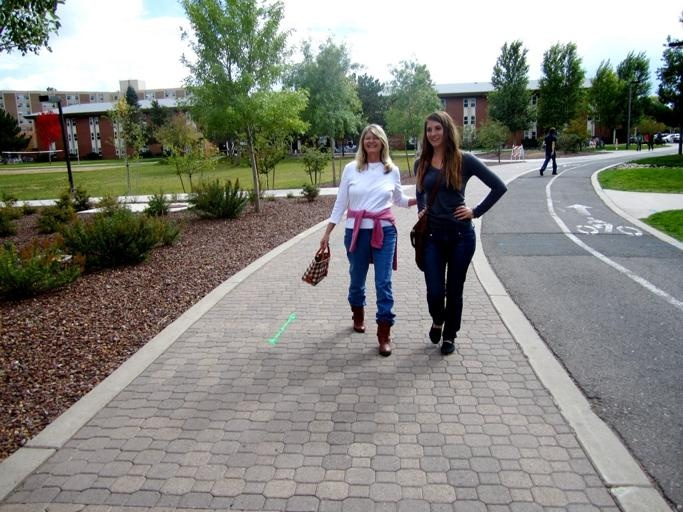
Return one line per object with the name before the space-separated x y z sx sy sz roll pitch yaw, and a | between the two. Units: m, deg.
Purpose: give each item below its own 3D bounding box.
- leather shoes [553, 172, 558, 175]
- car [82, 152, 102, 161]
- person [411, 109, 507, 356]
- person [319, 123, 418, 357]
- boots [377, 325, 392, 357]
leather shoes | 10.615 -4.117 22.631 0.204 0.071 0.157 3 17 45
car | -49.917 -20.000 91.396 2.828 1.773 2.800 -3 4 -31
person | 1.091 -0.203 4.544 0.777 2.369 0.393 1 13 9
person | 0.283 -0.262 5.007 0.991 2.295 0.979 7 16 32
boots | 0.447 0.833 4.698 0.137 0.312 0.251 0 14 5
